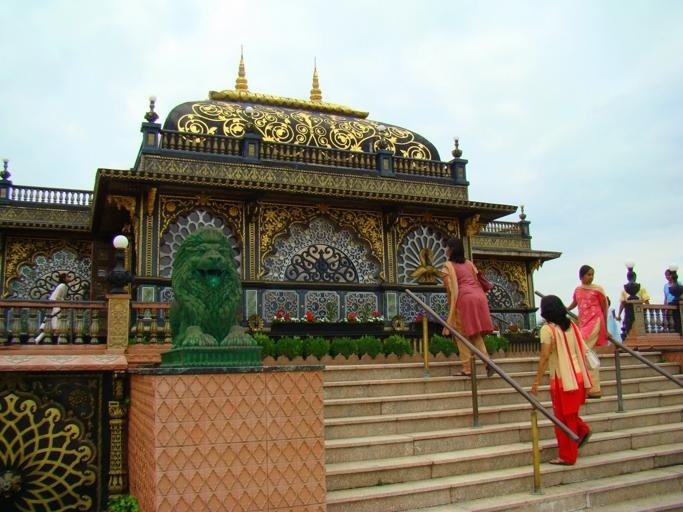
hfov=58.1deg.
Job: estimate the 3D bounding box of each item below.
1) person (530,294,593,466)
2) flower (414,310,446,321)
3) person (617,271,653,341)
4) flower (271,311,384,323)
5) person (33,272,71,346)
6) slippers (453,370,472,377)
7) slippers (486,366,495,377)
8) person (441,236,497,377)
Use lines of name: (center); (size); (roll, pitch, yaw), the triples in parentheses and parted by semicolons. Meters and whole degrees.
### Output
person: (3.012, 1.678, 8.410); (0.781, 2.298, 0.496); (-3, -8, 8)
flower: (1.889, 1.302, 13.514); (0.694, 0.203, 0.710); (2, -2, -9)
person: (6.700, 1.124, 14.074); (0.706, 2.051, 0.485); (-11, -39, 28)
flower: (-0.337, 1.434, 14.407); (2.757, 0.307, 0.958); (1, -8, -22)
person: (-5.765, 1.017, 12.128); (0.392, 1.264, 0.447); (9, -52, -11)
slippers: (2.025, 1.991, 10.367); (0.279, 0.112, 0.204); (-4, -8, 16)
slippers: (2.519, 1.964, 10.438); (0.145, 0.175, 0.257); (-4, -8, 12)
person: (2.156, 0.659, 10.626); (0.766, 2.019, 0.633); (-3, -8, 7)
